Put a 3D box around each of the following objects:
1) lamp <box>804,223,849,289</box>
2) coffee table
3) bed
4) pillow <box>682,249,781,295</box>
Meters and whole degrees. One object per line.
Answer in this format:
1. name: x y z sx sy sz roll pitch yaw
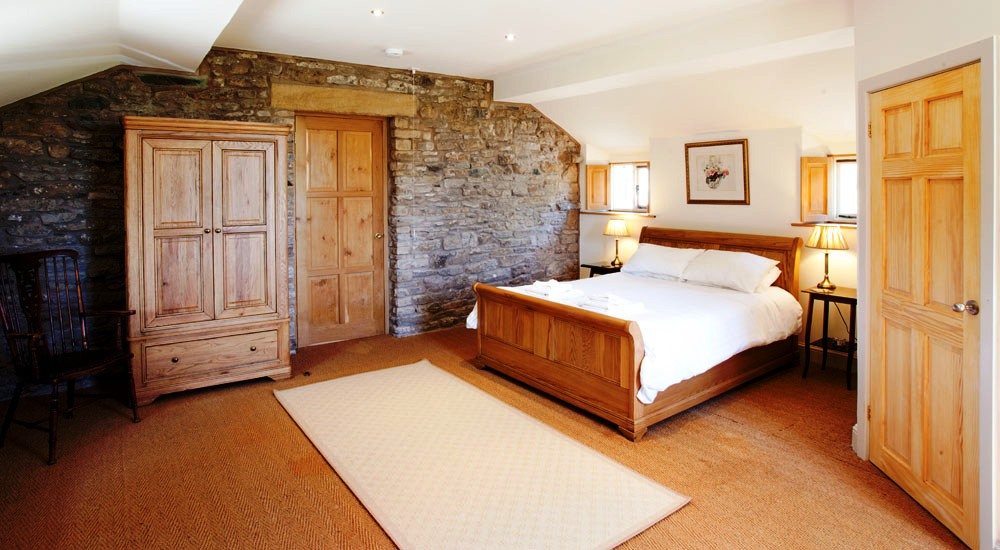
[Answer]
1. lamp: 3.873 -0.239 6.766 0.427 0.750 0.496 9 15 29
2. coffee table: 3.862 0.669 6.704 0.666 1.029 0.948 8 14 27
3. bed: 1.695 0.249 6.816 2.976 1.249 2.559 -19 19 -42
4. pillow: 2.750 -0.065 6.925 0.742 0.205 0.641 11 44 44
